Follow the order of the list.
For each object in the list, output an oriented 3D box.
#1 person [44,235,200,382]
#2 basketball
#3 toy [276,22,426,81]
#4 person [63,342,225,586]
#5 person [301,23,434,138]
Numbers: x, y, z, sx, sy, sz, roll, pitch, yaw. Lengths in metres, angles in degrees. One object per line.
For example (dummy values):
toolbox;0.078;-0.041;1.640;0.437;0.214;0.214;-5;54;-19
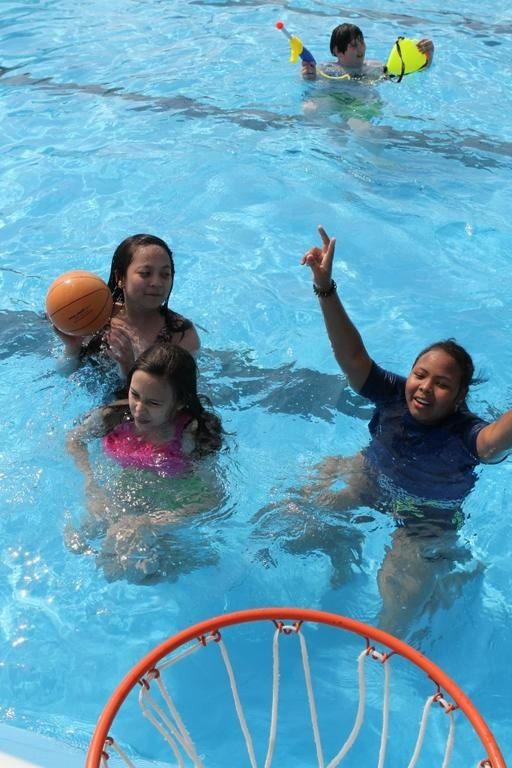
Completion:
person;-0.673;-0.387;3.586;0.624;0.819;0.613;7;29;-9
basketball;-0.860;-0.425;3.549;0.334;0.303;0.362;25;33;30
toy;1.109;-3.466;7.553;1.429;0.532;0.758;-3;19;-9
person;-0.442;0.377;2.998;0.679;0.986;0.773;7;27;11
person;1.165;-3.421;7.403;1.374;0.622;0.548;-2;45;0
